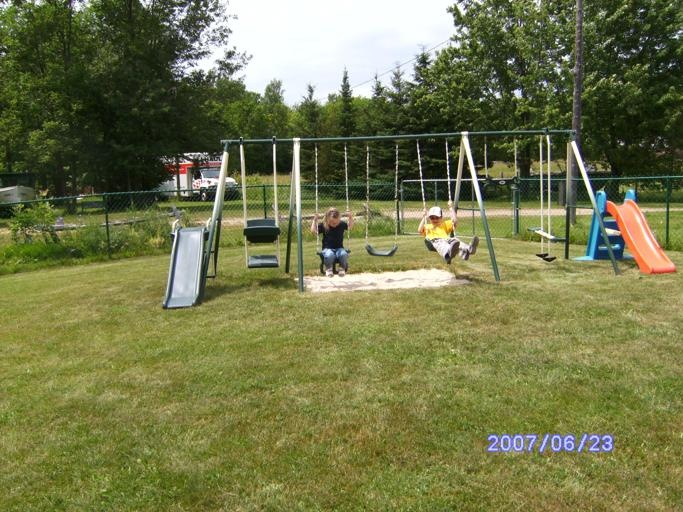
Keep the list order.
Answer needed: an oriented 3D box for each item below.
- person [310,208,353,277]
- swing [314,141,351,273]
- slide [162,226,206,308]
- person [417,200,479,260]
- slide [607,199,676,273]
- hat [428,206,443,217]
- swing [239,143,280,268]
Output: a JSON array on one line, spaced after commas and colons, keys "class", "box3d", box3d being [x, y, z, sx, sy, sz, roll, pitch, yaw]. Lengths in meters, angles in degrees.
[{"class": "person", "box3d": [-0.167, -0.249, 10.915, 0.640, 1.308, 0.704, 2, 9, -11]}, {"class": "swing", "box3d": [-0.269, -0.352, 11.032, 1.162, 1.972, 0.973, -3, 8, -12]}, {"class": "slide", "box3d": [-2.505, 0.119, 9.906, 0.560, 0.874, 1.774, -3, 14, -5]}, {"class": "person", "box3d": [1.835, -0.309, 10.806, 0.916, 1.377, 1.768, 0, 14, 7]}, {"class": "slide", "box3d": [5.421, -0.356, 11.120, 0.613, 1.069, 1.751, -2, 14, -1]}, {"class": "hat", "box3d": [1.681, -0.800, 10.940, 0.183, 0.150, 0.264, 5, -8, 20]}, {"class": "swing", "box3d": [-1.383, -0.922, 10.412, 0.684, 2.129, 0.768, -1, 7, 10]}]
